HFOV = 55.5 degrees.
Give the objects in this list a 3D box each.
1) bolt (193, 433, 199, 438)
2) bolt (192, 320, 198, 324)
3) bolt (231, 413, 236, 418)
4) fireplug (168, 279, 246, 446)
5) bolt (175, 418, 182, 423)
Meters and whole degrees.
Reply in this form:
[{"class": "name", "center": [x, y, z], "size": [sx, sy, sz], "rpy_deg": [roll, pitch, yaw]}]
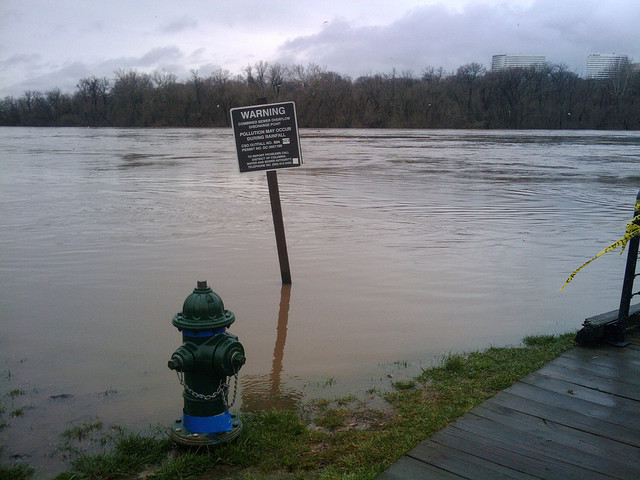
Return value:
[{"class": "bolt", "center": [-1.171, 1.843, 5.754], "size": [0.054, 0.015, 0.058], "rpy_deg": [-4, 15, -17]}, {"class": "bolt", "center": [-1.172, 0.764, 5.709], "size": [0.050, 0.032, 0.024], "rpy_deg": [1, 15, 5]}, {"class": "bolt", "center": [-0.864, 1.756, 6.086], "size": [0.029, 0.028, 0.030], "rpy_deg": [2, -6, 3]}, {"class": "fireplug", "center": [-1.083, 1.149, 5.769], "size": [0.733, 1.523, 0.585], "rpy_deg": [-3, 15, -10]}, {"class": "bolt", "center": [-1.394, 1.773, 5.998], "size": [0.047, 0.032, 0.036], "rpy_deg": [1, -1, -5]}]
